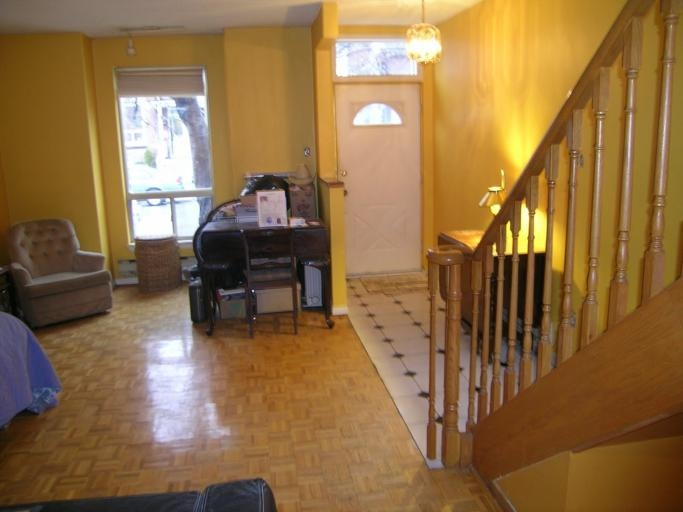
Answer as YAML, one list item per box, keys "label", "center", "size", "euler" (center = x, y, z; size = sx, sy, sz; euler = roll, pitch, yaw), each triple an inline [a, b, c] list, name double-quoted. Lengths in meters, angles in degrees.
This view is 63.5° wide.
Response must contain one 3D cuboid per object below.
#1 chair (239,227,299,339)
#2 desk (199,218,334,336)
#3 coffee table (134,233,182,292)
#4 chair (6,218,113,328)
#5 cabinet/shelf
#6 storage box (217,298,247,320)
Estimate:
- label: "chair"
  center: [-0.682, 0.188, 5.374]
  size: [0.541, 1.081, 0.640]
  euler: [-5, 16, -11]
- label: "desk"
  center: [-0.807, 0.047, 5.630]
  size: [1.231, 1.056, 1.094]
  euler: [-2, 20, -8]
- label: "coffee table"
  center: [-2.224, 0.062, 6.892]
  size: [0.592, 0.664, 0.576]
  euler: [-3, 9, -16]
- label: "chair"
  center: [-3.044, 0.169, 6.157]
  size: [1.175, 1.369, 1.002]
  euler: [10, 14, 39]
- label: "cabinet/shelf"
  center: [1.283, 0.334, 4.742]
  size: [0.665, 0.953, 1.224]
  euler: [-5, 17, -12]
- label: "storage box"
  center: [-1.141, 0.548, 5.718]
  size: [0.217, 0.239, 0.140]
  euler: [-2, 3, -9]
